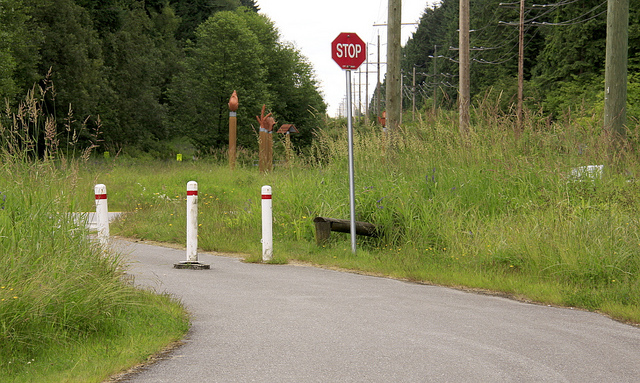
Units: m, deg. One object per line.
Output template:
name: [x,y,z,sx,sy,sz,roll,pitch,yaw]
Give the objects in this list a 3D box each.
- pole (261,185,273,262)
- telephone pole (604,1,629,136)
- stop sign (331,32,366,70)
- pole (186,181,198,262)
pole: [-1.445,0.903,20.709,0.279,2.071,0.389,0,1,-3]
telephone pole: [9.436,-3.906,23.879,0.985,4.352,0.882,3,1,14]
stop sign: [0.810,-3.853,20.820,0.939,1.016,0.239,0,1,-8]
pole: [-3.387,0.817,20.003,0.244,2.122,0.423,0,1,-16]
